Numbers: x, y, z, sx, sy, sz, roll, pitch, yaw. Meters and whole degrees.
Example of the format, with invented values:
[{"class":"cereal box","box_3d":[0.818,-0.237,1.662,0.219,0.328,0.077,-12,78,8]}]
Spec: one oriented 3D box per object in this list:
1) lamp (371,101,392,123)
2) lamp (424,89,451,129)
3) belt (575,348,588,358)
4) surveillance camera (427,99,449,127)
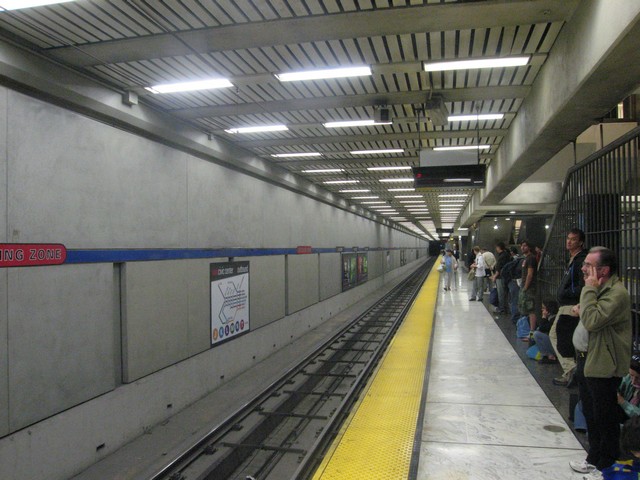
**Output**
[{"class":"lamp","box_3d":[1.013,-2.125,7.326,0.296,0.306,0.313,2,6,12]},{"class":"lamp","box_3d":[1.887,-2.191,7.035,0.352,0.341,0.693,1,-29,22]},{"class":"belt","box_3d":[2.666,1.175,4.496,0.065,0.045,0.087,0,-8,-14]},{"class":"surveillance camera","box_3d":[1.846,-2.087,6.945,0.282,0.274,0.550,1,2,22]}]
